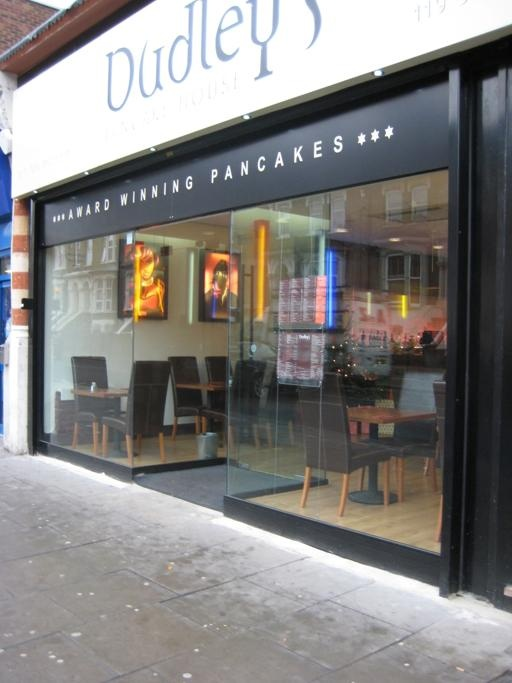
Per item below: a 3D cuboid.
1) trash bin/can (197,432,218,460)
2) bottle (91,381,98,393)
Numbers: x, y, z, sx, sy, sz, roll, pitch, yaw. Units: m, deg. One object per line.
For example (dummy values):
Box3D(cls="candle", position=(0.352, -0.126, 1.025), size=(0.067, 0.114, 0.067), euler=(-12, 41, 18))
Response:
Box3D(cls="trash bin/can", position=(-0.574, 1.238, 6.784), size=(0.255, 0.305, 0.261), euler=(-1, -3, 31))
Box3D(cls="bottle", position=(-1.872, 0.518, 6.565), size=(0.070, 0.130, 0.124), euler=(2, -9, -8))
